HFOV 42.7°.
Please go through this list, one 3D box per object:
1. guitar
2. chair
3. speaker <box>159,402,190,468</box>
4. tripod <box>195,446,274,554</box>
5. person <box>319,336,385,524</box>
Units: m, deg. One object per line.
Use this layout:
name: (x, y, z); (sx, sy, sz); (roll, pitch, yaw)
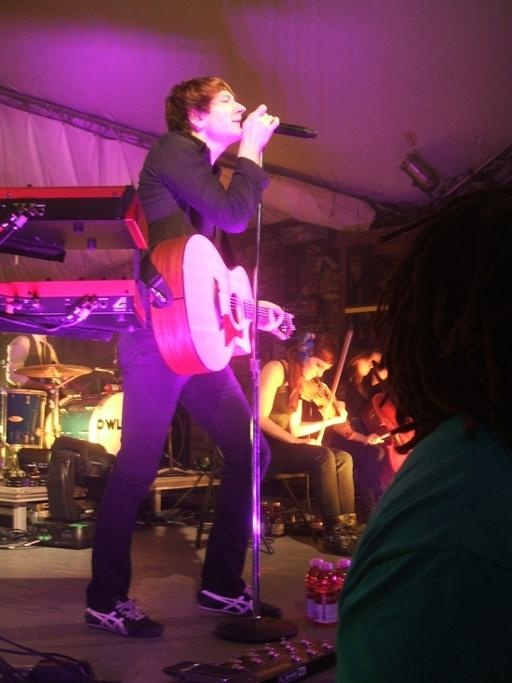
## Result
guitar: (-0.186, -0.112, 2.154); (0.258, 0.357, 0.608); (4, -2, 10)
chair: (0.033, 1.119, 4.542); (0.829, 0.970, 0.628); (-4, -15, 16)
speaker: (-0.756, 0.976, 6.322); (0.397, 0.723, 0.115); (3, 2, -4)
tripod: (-0.237, 1.072, 4.498); (0.660, 0.757, 0.582); (-6, -13, 23)
person: (0.734, 0.632, 4.645); (0.635, 1.195, 0.206); (3, -6, -40)
